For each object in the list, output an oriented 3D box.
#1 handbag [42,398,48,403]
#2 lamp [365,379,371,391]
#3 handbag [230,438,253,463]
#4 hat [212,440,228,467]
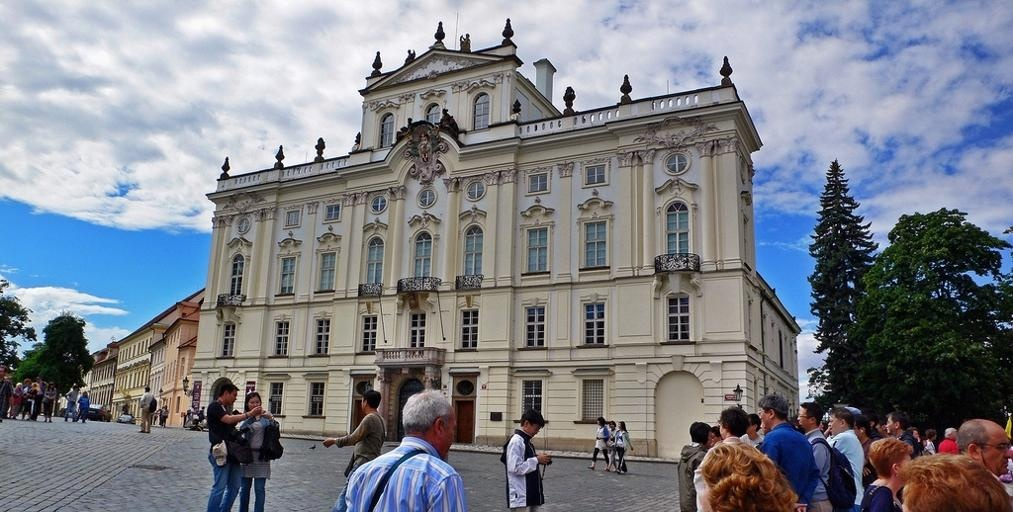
[{"bbox_3d":[-32.117,10.020,46.882,0.511,0.301,0.250,-2,-8,7],"label":"handbag"},{"bbox_3d":[-10.996,10.180,53.581,0.561,0.687,0.971,9,-19,-24],"label":"lamp"},{"bbox_3d":[-8.661,6.336,21.905,0.981,0.821,0.481,2,-9,-9],"label":"handbag"},{"bbox_3d":[-9.272,6.405,21.827,0.447,0.713,0.234,6,-19,-16],"label":"hat"}]
